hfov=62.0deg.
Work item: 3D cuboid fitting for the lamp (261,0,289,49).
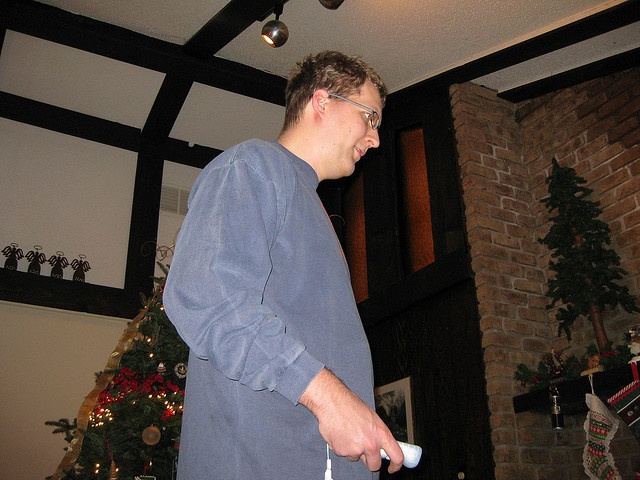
[{"bbox_3d":[-0.314,-1.574,3.886,0.191,0.311,0.227,21,-30,-40],"label":"lamp"}]

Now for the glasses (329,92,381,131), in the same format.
[{"bbox_3d":[0.132,-0.464,2.063,0.144,0.042,0.148,29,-8,6],"label":"glasses"}]

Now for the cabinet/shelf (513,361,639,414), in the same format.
[{"bbox_3d":[1.596,0.915,3.199,0.361,0.174,0.869,12,-27,-25],"label":"cabinet/shelf"}]
